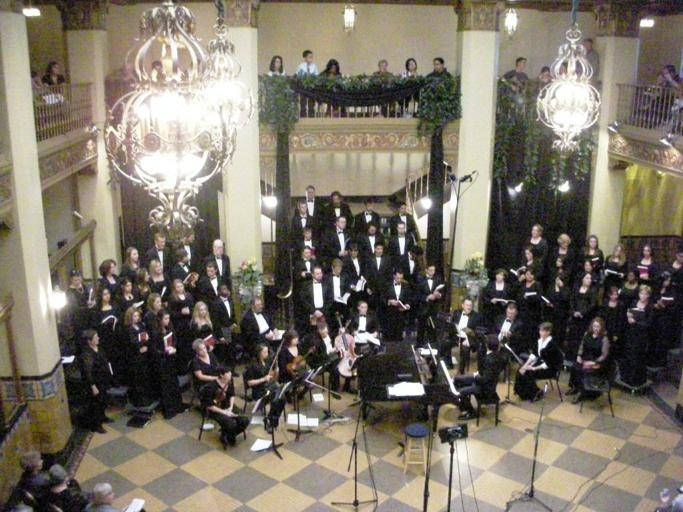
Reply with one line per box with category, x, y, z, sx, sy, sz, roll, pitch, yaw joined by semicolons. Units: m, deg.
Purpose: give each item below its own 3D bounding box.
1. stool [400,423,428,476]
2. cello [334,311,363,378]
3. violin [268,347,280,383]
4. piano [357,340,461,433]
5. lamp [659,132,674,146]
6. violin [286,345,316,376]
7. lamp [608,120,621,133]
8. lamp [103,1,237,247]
stool;1.218;3.172;9.083;0.421;0.630;0.429;5;-10;-12
cello;0.110;1.796;10.967;0.398;1.061;0.182;1;-19;-14
violin;-1.184;1.971;10.037;0.150;0.547;0.258;7;-8;-5
piano;1.019;2.069;9.717;1.718;1.276;1.107;1;6;-4
lamp;6.728;-2.413;11.658;0.192;0.265;0.197;-6;19;12
violin;-0.736;1.947;10.355;0.337;0.663;0.112;37;-12;6
lamp;6.629;-3.128;13.729;0.203;0.299;0.102;9;-2;2
lamp;-1.536;-1.342;5.325;0.941;3.361;1.301;-2;9;-13
